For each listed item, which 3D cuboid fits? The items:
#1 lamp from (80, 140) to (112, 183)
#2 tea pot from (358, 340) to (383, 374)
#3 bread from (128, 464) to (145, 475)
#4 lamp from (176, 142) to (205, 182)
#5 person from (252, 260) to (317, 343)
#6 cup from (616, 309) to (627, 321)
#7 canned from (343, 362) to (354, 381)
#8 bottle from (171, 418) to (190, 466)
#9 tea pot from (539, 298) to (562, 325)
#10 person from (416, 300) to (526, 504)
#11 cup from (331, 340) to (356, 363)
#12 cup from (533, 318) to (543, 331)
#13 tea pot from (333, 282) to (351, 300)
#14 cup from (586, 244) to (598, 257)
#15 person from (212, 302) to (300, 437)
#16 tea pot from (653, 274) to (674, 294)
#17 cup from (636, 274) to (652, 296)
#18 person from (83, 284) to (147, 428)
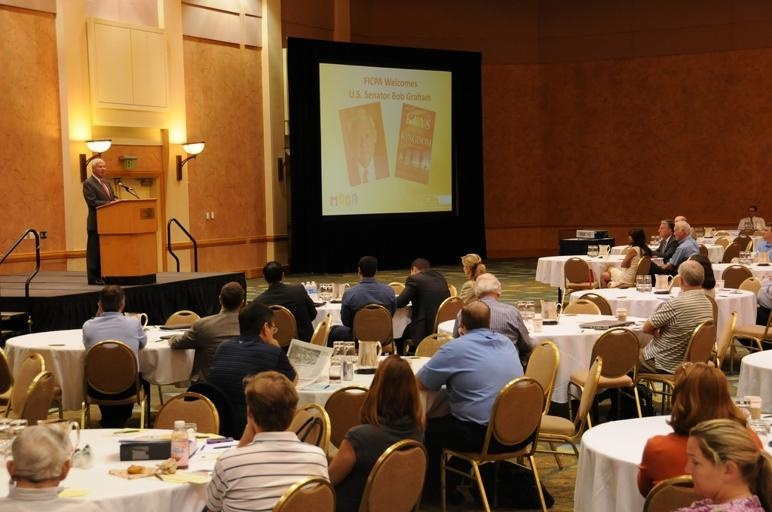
[{"bbox_3d":[-6.331,-2.075,15.032,0.642,0.963,0.554,-3,7,-4],"label":"lamp"},{"bbox_3d":[-0.133,0.919,6.262,0.265,0.289,0.183,8,-15,-32],"label":"tea pot"},{"bbox_3d":[-1.523,1.312,4.200,0.105,0.041,0.108,-3,3,-23],"label":"bread"},{"bbox_3d":[-4.896,-2.392,17.197,0.640,1.054,0.547,-1,5,6],"label":"lamp"},{"bbox_3d":[-1.435,0.609,9.778,0.622,1.730,0.685,-3,19,-6],"label":"person"},{"bbox_3d":[2.712,0.672,7.890,0.116,0.141,0.125,-1,3,0],"label":"cup"},{"bbox_3d":[-0.322,0.988,5.855,0.117,0.154,0.127,0,0,2],"label":"canned"},{"bbox_3d":[-1.300,1.204,4.360,0.162,0.317,0.171,0,2,0],"label":"bottle"},{"bbox_3d":[1.913,0.660,7.933,0.192,0.283,0.267,-1,-5,4],"label":"tea pot"},{"bbox_3d":[0.679,0.979,5.564,0.809,1.179,0.304,-1,2,9],"label":"person"},{"bbox_3d":[-0.353,0.835,5.984,0.194,0.183,0.196,1,1,0],"label":"cup"},{"bbox_3d":[1.651,0.752,7.488,0.101,0.130,0.110,-1,-2,0],"label":"cup"},{"bbox_3d":[-0.649,0.527,10.281,0.275,0.326,0.181,0,1,11],"label":"tea pot"},{"bbox_3d":[4.339,-0.123,14.469,0.234,0.252,0.243,0,0,0],"label":"cup"},{"bbox_3d":[-1.120,1.155,5.761,0.697,1.426,0.654,0,0,-41],"label":"person"},{"bbox_3d":[4.085,0.411,9.948,0.273,0.427,0.406,-2,-5,24],"label":"tea pot"},{"bbox_3d":[3.725,0.412,9.871,0.275,0.292,0.264,0,-4,0],"label":"cup"},{"bbox_3d":[-2.848,1.103,7.231,0.645,1.579,0.747,-2,2,-1],"label":"person"}]
